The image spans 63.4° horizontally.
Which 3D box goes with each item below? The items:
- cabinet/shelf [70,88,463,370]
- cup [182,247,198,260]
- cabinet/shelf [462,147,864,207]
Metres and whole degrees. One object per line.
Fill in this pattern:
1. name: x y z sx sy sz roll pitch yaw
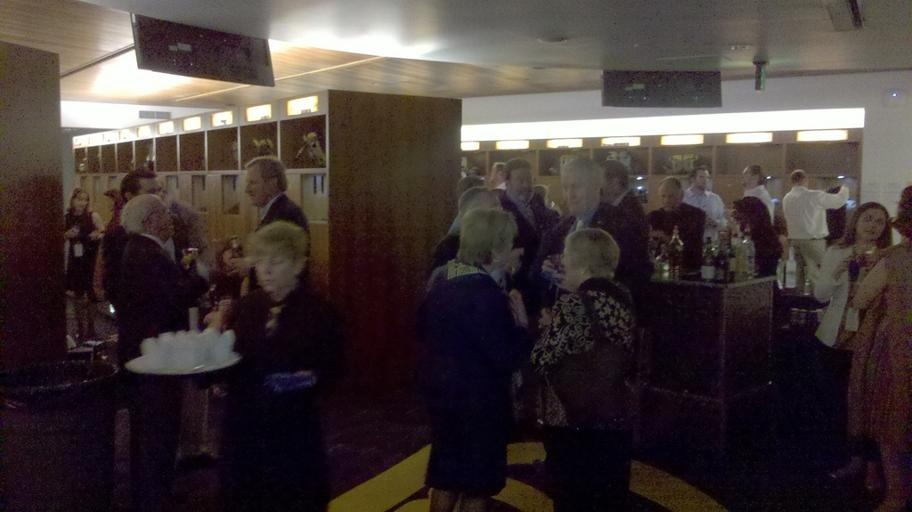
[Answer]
1. cabinet/shelf: -2.312 -0.327 10.207 3.807 3.277 1.264 1 3 43
2. cup: -2.939 -0.026 8.191 0.180 0.099 0.224 -22 11 -9
3. cabinet/shelf: 4.235 -1.309 12.722 5.957 1.270 0.584 -2 -2 -10
